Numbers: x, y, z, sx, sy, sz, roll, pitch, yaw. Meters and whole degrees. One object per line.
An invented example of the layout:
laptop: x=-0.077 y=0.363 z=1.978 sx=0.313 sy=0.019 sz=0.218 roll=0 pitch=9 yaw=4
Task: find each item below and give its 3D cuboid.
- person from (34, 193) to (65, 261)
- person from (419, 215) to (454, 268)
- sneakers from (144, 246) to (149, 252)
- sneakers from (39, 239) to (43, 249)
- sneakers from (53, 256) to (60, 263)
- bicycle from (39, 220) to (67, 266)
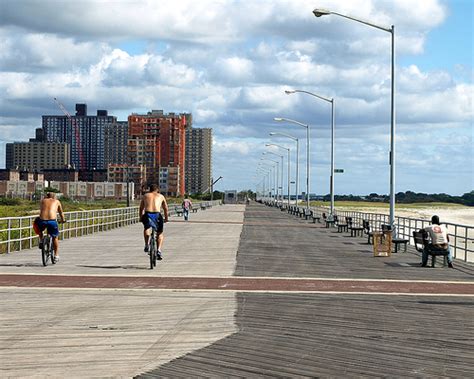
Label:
person: x=-4.923 y=0.998 z=15.003 sx=0.623 sy=1.876 sz=1.118 roll=0 pitch=0 yaw=20
person: x=5.754 y=1.487 z=16.613 sx=0.884 sy=1.451 sz=1.184 roll=0 pitch=0 yaw=21
sneakers: x=-2.237 y=1.468 z=14.132 sx=0.101 sy=0.147 sz=0.138 roll=-1 pitch=20 yaw=-3
sneakers: x=-4.962 y=1.356 z=14.536 sx=0.109 sy=0.232 sz=0.300 roll=1 pitch=-1 yaw=-19
sneakers: x=-4.824 y=1.855 z=15.354 sx=0.102 sy=0.143 sz=0.317 roll=1 pitch=3 yaw=-2
bicycle: x=-4.944 y=1.544 z=15.057 sx=0.534 sy=0.715 sz=1.120 roll=0 pitch=7 yaw=-4
